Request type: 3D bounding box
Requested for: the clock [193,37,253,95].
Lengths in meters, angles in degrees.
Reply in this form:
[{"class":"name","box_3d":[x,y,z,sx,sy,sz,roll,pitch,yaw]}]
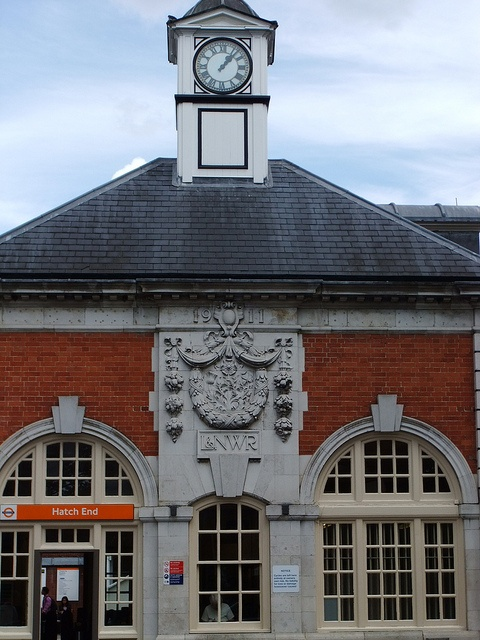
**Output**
[{"class":"clock","box_3d":[-0.380,-5.084,32.486,1.030,1.249,0.071,4,-28,-4]}]
